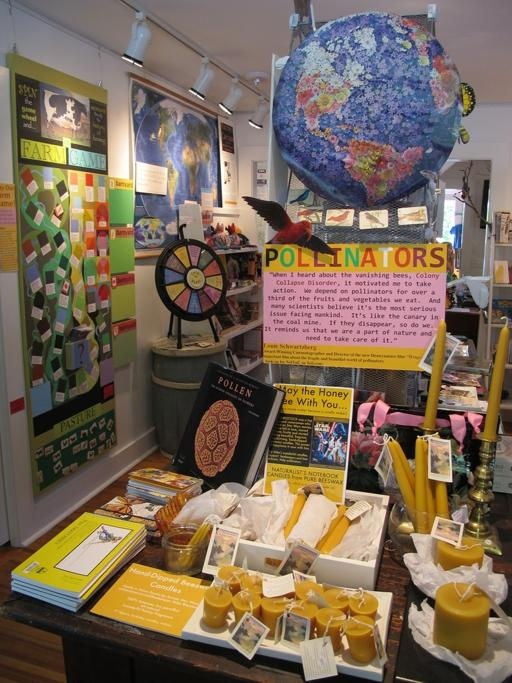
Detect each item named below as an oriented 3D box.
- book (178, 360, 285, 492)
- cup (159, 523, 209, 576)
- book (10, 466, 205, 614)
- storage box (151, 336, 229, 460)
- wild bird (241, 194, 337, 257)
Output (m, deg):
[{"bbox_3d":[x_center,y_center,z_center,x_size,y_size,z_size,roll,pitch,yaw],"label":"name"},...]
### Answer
[{"bbox_3d":[-0.015,0.217,1.162,0.065,0.275,0.271,22,-6,-43],"label":"book"},{"bbox_3d":[-0.124,0.367,0.869,0.077,0.060,0.079,0,1,0],"label":"cup"},{"bbox_3d":[-0.317,0.341,0.855,0.137,0.043,0.207,9,17,26],"label":"book"},{"bbox_3d":[-0.474,0.421,3.730,0.578,0.828,0.597,12,19,38],"label":"storage box"},{"bbox_3d":[0.069,-0.255,1.036,0.047,0.130,0.280,-13,-1,41],"label":"wild bird"}]
